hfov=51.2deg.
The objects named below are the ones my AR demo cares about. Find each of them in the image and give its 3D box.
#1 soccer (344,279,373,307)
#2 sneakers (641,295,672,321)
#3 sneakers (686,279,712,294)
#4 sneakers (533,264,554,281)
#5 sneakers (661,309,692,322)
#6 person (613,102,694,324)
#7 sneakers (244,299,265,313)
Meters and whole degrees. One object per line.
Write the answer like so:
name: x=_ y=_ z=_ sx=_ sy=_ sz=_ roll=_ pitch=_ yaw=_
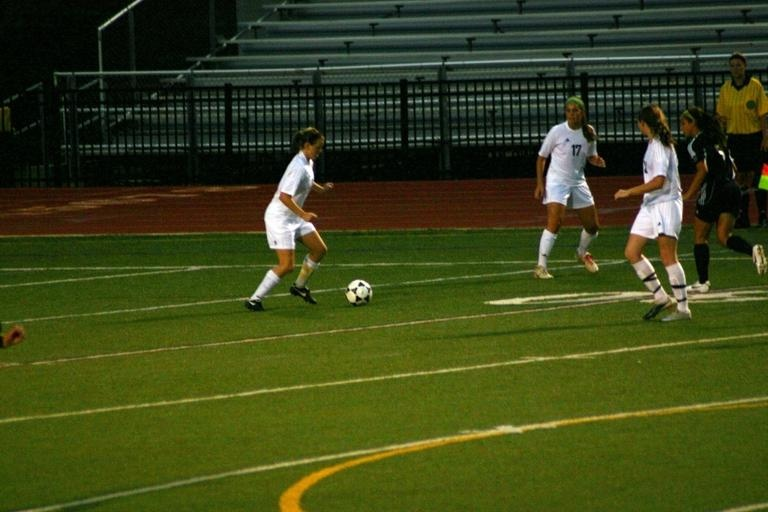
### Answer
soccer: x=-0.302 y=0.471 z=10.035 sx=0.313 sy=0.301 sz=0.317 roll=8 pitch=30 yaw=35
sneakers: x=3.065 y=0.594 z=9.027 sx=0.297 sy=0.119 sz=0.107 roll=-38 pitch=15 yaw=19
sneakers: x=4.010 y=0.415 z=10.220 sx=0.360 sy=0.146 sz=0.128 roll=1 pitch=5 yaw=25
sneakers: x=2.269 y=0.249 z=11.404 sx=0.163 sy=0.131 sz=0.264 roll=10 pitch=-14 yaw=40
sneakers: x=3.198 y=0.661 z=8.824 sx=0.412 sy=0.152 sz=0.135 roll=-2 pitch=3 yaw=6
person: x=3.118 y=-0.514 z=9.141 sx=0.767 sy=2.378 sz=1.379 roll=2 pitch=11 yaw=18
sneakers: x=-1.582 y=0.596 z=9.853 sx=0.227 sy=0.159 sz=0.175 roll=-5 pitch=11 yaw=-20
